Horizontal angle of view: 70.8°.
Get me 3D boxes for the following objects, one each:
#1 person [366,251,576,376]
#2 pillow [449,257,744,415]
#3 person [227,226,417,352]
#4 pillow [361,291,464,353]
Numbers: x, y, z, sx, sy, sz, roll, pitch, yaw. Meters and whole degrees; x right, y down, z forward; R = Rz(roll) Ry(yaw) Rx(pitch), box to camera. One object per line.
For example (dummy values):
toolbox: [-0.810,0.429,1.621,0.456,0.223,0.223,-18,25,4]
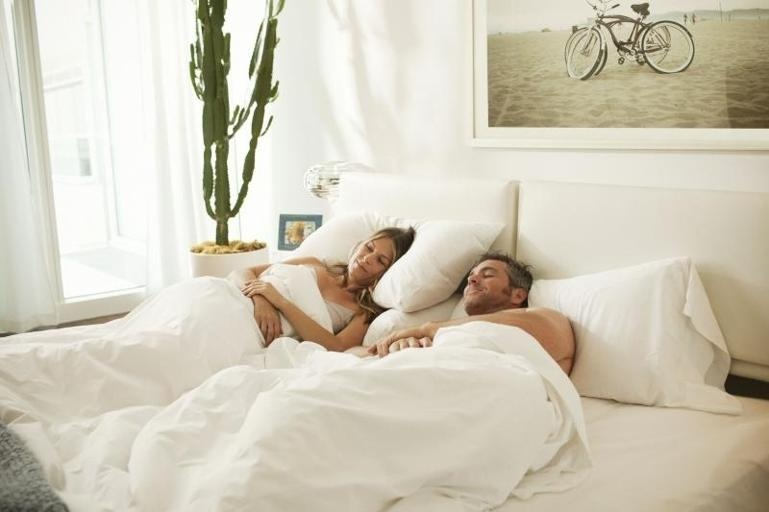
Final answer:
person: [0.515,0.214,2.359,0.491,0.247,0.708,-3,10,32]
pillow: [0.784,0.214,2.368,1.170,0.457,0.598,3,29,5]
person: [-0.258,0.194,2.635,0.748,0.268,0.537,-11,35,-30]
pillow: [0.114,0.303,2.599,0.308,0.096,0.271,-28,13,-6]
